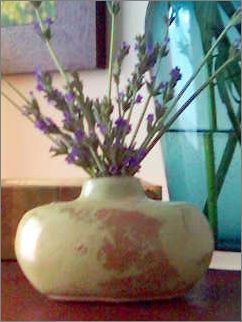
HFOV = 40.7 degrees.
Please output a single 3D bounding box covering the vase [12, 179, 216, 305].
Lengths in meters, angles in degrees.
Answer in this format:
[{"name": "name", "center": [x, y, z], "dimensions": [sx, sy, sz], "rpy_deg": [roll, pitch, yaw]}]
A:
[{"name": "vase", "center": [-0.005, 0.067, 0.290], "dimensions": [0.168, 0.095, 0.087], "rpy_deg": [-1, -4, 4]}]
